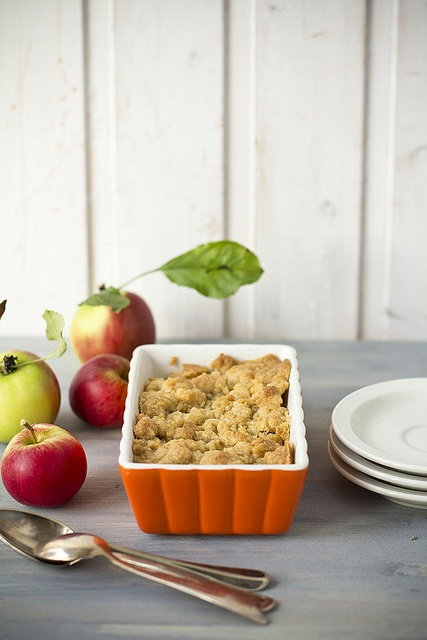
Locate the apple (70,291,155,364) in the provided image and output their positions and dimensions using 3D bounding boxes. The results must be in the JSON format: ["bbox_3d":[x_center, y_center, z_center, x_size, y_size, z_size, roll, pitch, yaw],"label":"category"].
[{"bbox_3d":[-0.159,0.011,0.996,0.130,0.119,0.126,3,5,26],"label":"apple"}]

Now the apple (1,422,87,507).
[{"bbox_3d":[-0.171,0.147,0.632,0.065,0.066,0.063,-17,25,-28],"label":"apple"}]
